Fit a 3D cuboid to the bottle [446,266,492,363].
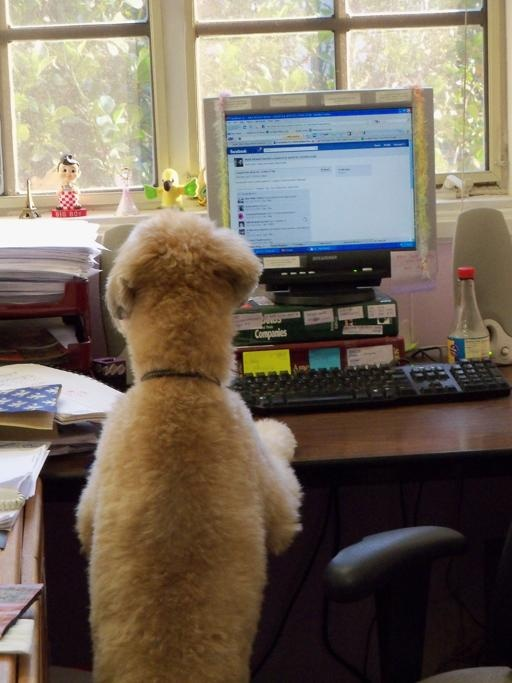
[{"bbox_3d":[0.389,-0.045,1.188,0.077,0.175,0.226,0,12,20],"label":"bottle"}]
